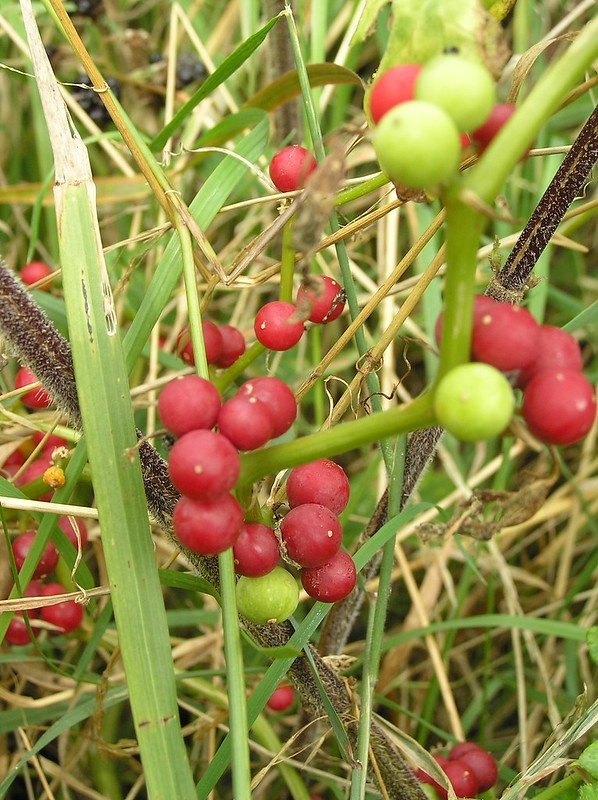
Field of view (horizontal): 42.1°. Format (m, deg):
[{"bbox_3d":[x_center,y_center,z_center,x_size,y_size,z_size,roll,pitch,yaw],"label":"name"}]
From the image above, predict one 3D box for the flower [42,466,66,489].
[{"bbox_3d":[-0.256,0.081,0.822,0.024,0.023,0.024,5,90,4],"label":"flower"}]
